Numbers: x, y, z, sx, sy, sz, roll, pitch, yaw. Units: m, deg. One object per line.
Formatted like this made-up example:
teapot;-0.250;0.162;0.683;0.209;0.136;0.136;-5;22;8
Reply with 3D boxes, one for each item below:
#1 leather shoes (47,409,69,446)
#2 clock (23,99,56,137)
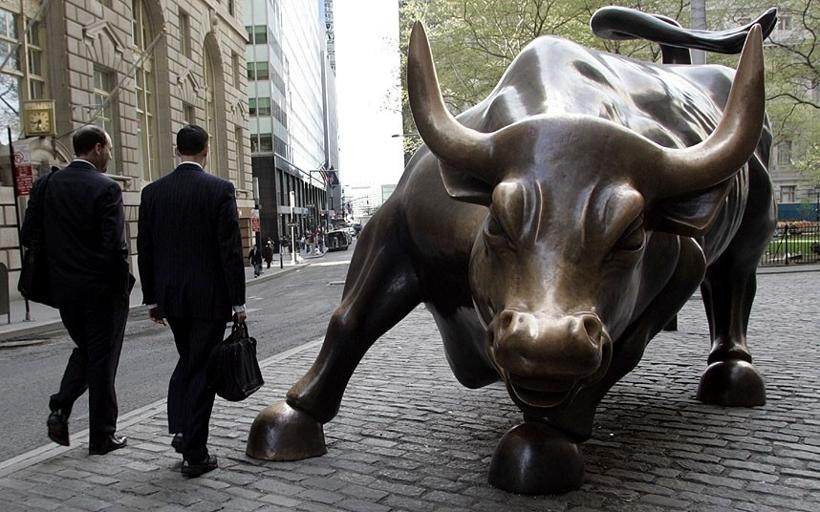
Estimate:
leather shoes;-3.142;1.518;6.690;0.146;0.367;0.155;0;35;2
clock;-9.884;-3.750;20.433;0.855;1.133;0.735;-3;0;3
